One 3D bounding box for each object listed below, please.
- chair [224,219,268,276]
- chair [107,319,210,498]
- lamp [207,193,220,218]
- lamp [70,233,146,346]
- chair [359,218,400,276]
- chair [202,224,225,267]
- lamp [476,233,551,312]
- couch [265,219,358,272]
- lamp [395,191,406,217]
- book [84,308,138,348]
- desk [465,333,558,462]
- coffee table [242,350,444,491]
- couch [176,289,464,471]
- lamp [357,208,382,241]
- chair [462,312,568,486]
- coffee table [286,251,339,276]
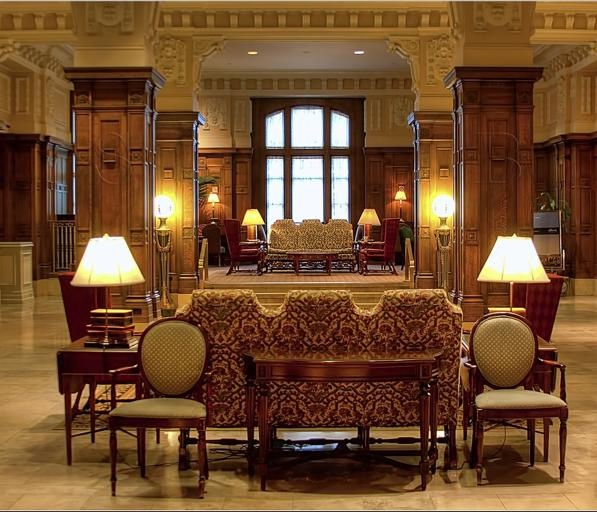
[{"bbox_3d":[-1.234,-0.191,12.960,1.106,1.601,1.132,0,1,0],"label":"chair"},{"bbox_3d":[-0.861,0.891,3.635,0.592,0.983,0.721,-1,3,-13],"label":"chair"},{"bbox_3d":[-2.318,-1.389,15.906,0.334,0.682,0.192,-1,3,-10],"label":"lamp"},{"bbox_3d":[-1.394,0.265,4.236,0.457,0.796,0.486,1,8,2],"label":"lamp"},{"bbox_3d":[1.766,-0.184,12.702,0.823,1.197,0.885,0,-3,24],"label":"chair"},{"bbox_3d":[-2.194,-0.282,14.703,0.537,1.069,0.631,-2,-2,-5],"label":"chair"},{"bbox_3d":[1.631,0.160,4.478,0.441,0.663,0.427,-17,23,-37],"label":"lamp"},{"bbox_3d":[0.316,-0.351,13.653,1.810,1.208,0.882,-1,18,4],"label":"couch"},{"bbox_3d":[2.838,-1.447,16.114,0.325,0.772,0.270,0,3,7],"label":"lamp"},{"bbox_3d":[-1.351,0.485,4.138,0.266,0.202,0.282,0,1,8],"label":"book"},{"bbox_3d":[1.381,0.886,3.806,0.558,0.919,0.578,0,-3,1],"label":"desk"},{"bbox_3d":[0.274,0.965,3.600,1.280,0.814,0.522,0,2,1],"label":"coffee table"},{"bbox_3d":[0.140,0.747,4.058,1.762,1.172,0.614,0,8,4],"label":"couch"},{"bbox_3d":[1.580,-0.696,13.086,0.418,0.733,0.474,12,15,40],"label":"lamp"},{"bbox_3d":[1.351,0.848,3.683,0.525,0.971,0.601,-1,-7,9],"label":"chair"},{"bbox_3d":[0.311,0.140,12.252,1.059,0.477,0.724,-1,3,-5],"label":"coffee table"}]
